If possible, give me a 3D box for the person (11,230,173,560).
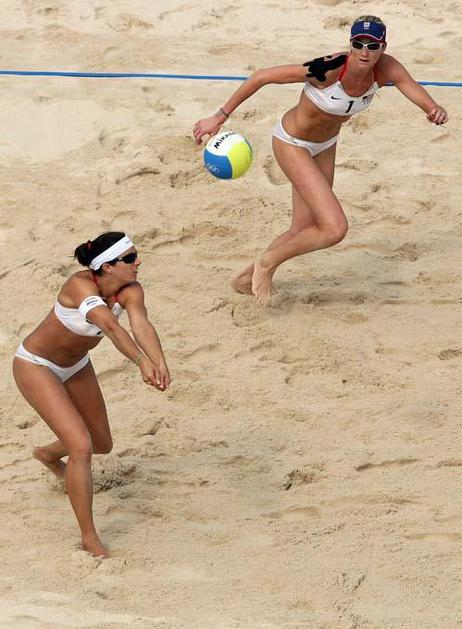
[{"bbox_3d":[-0.621,0.460,3.665,0.674,1.566,0.975,-11,40,-8],"label":"person"}]

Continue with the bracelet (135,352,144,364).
[{"bbox_3d":[-0.368,0.173,3.230,0.010,0.039,0.040,44,2,-9],"label":"bracelet"}]

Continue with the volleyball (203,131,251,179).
[{"bbox_3d":[-0.046,-0.915,4.692,0.332,0.254,0.300,0,27,-4],"label":"volleyball"}]

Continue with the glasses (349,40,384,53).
[{"bbox_3d":[0.688,-1.373,4.106,0.154,0.058,0.067,2,38,6],"label":"glasses"}]
